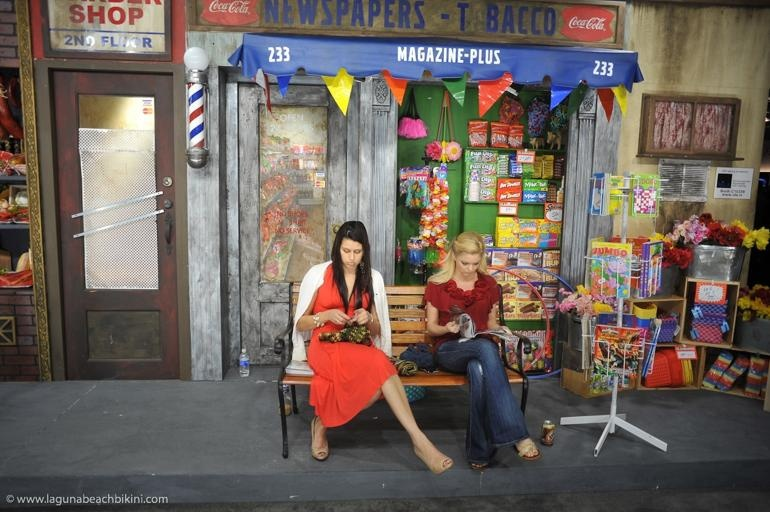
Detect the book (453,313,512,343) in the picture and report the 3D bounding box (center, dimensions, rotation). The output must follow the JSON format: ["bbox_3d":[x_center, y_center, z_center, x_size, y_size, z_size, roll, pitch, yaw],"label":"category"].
[{"bbox_3d":[0.949,0.662,5.999,0.557,0.313,0.300,1,9,9],"label":"book"}]

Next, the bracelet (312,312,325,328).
[{"bbox_3d":[-0.615,0.589,5.977,0.117,0.051,0.120,-4,-19,0],"label":"bracelet"}]

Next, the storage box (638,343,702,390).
[{"bbox_3d":[3.166,1.237,7.154,0.500,0.488,0.519,-4,4,4],"label":"storage box"}]

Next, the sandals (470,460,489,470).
[{"bbox_3d":[0.830,1.856,5.688,0.130,0.076,0.046,0,7,9],"label":"sandals"}]

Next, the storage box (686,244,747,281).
[{"bbox_3d":[3.642,0.051,7.027,0.494,0.332,0.385,2,0,17],"label":"storage box"}]

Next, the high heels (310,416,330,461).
[{"bbox_3d":[-0.590,1.648,5.792,0.125,0.151,0.382,0,28,-13],"label":"high heels"}]

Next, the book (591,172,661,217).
[{"bbox_3d":[2.350,-0.619,6.309,0.626,0.415,0.229,2,9,19],"label":"book"}]

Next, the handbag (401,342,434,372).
[{"bbox_3d":[0.319,0.960,6.159,0.247,0.094,0.256,-2,35,6],"label":"handbag"}]

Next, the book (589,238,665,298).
[{"bbox_3d":[2.407,0.120,6.486,0.711,0.606,0.451,-8,11,-39],"label":"book"}]

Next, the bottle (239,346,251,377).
[{"bbox_3d":[-1.597,1.170,7.273,0.123,0.288,0.284,-3,9,-12],"label":"bottle"}]

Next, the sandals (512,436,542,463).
[{"bbox_3d":[1.289,1.749,5.805,0.159,0.089,0.267,-9,2,-11],"label":"sandals"}]

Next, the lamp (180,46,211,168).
[{"bbox_3d":[-1.987,-1.573,6.793,0.274,1.245,0.200,-3,9,-17],"label":"lamp"}]
